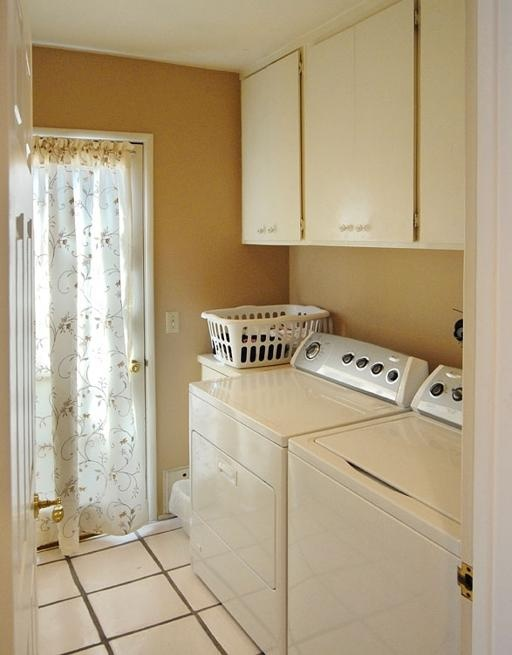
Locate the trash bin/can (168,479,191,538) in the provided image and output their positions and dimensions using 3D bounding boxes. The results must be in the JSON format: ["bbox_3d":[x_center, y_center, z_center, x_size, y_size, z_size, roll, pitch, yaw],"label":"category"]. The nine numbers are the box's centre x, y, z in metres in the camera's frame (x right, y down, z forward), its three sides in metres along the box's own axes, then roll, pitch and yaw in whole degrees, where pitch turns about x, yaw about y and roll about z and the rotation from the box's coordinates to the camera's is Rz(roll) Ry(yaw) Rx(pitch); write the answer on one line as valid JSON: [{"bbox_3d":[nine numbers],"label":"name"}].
[{"bbox_3d":[-0.407,0.977,2.696,0.108,0.254,0.345,-1,6,-10],"label":"trash bin/can"}]

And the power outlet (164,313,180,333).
[{"bbox_3d":[-0.461,-0.029,2.741,0.087,0.148,0.012,-3,6,-35],"label":"power outlet"}]

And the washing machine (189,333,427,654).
[{"bbox_3d":[0.056,0.440,2.590,0.874,1.976,1.247,1,5,-25],"label":"washing machine"}]
